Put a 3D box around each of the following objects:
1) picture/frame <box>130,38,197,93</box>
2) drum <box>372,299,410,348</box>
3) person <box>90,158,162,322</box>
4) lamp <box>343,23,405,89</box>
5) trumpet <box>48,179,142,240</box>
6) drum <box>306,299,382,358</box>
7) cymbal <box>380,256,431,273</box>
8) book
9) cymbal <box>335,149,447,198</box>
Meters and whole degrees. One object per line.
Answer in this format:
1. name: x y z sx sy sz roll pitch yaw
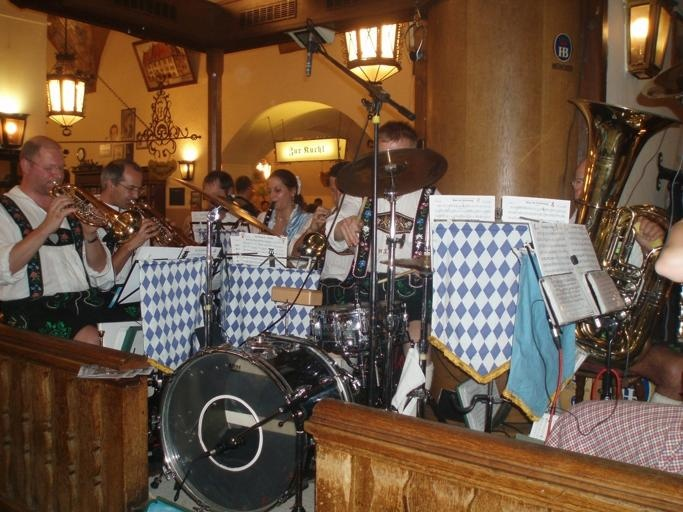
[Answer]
1. picture/frame: -3.437 -3.828 12.213 1.493 1.002 0.621 4 5 40
2. drum: 0.337 0.437 4.042 0.224 0.285 0.277 1 5 13
3. person: -1.680 -0.193 4.985 0.471 1.411 0.518 11 10 38
4. lamp: 0.345 -2.261 6.763 0.571 0.865 0.598 -4 -4 28
5. trumpet: -1.799 -0.324 4.547 0.611 0.419 0.271 -1 4 -21
6. drum: 0.000 0.467 3.991 0.345 0.297 0.332 2 -7 -6
7. cymbal: 0.442 0.039 3.950 0.258 0.090 0.418 1 4 9
8. book: 1.278 0.102 3.619 0.597 0.628 0.144 5 -23 -40
9. cymbal: 0.325 -0.527 3.931 0.692 0.305 0.583 0 4 -8
